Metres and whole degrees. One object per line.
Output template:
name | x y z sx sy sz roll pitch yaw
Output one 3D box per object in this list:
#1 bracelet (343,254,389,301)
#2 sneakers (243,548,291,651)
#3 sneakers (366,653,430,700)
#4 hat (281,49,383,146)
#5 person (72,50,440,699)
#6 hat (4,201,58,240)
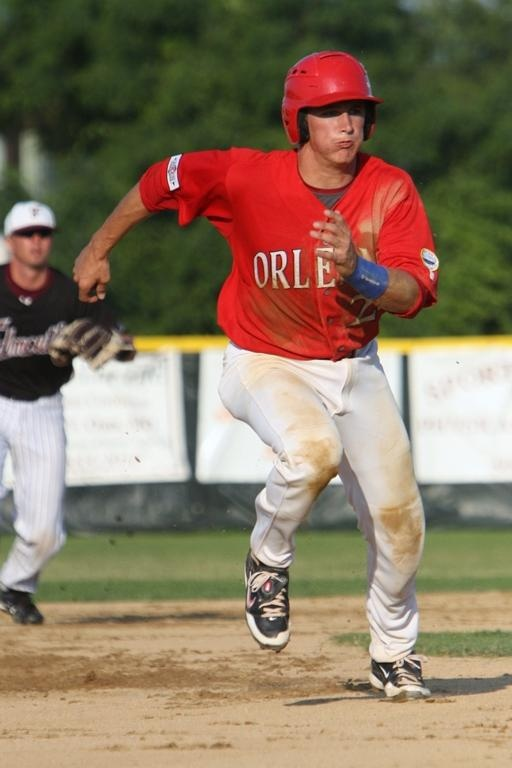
bracelet | 0.323 -0.333 3.858 0.121 0.105 0.140 13 13 -23
sneakers | 0.020 0.719 4.208 0.130 0.331 0.151 -2 -21 -14
sneakers | 0.516 1.048 4.456 0.102 0.113 0.278 2 -6 -22
hat | 0.247 -0.969 4.228 0.312 0.319 0.303 -3 13 -6
person | 0.151 0.015 4.319 0.832 2.265 1.069 -5 14 -13
hat | -1.125 -0.795 6.030 0.193 0.116 0.244 -1 -10 -10
